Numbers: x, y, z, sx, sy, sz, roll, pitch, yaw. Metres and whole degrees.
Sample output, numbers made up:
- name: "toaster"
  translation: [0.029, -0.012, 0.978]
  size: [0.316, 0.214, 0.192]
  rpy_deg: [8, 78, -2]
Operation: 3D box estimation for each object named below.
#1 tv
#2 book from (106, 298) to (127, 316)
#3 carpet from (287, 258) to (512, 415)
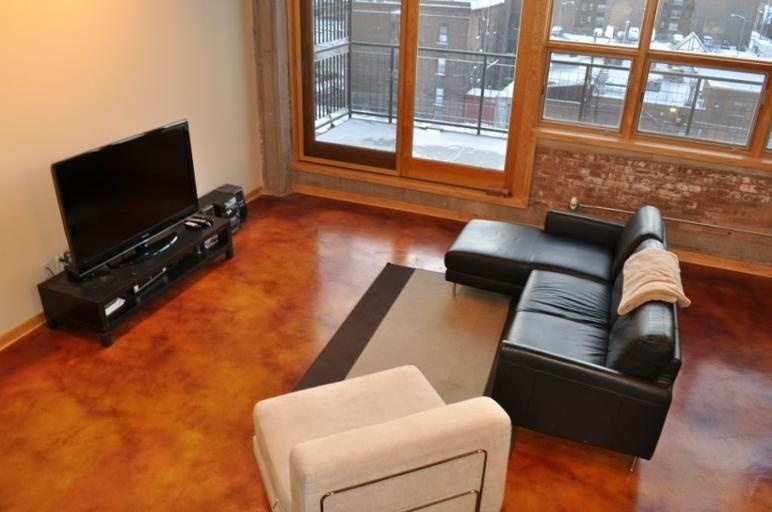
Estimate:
- name: "tv"
  translation: [-2.399, -0.520, 4.710]
  size: [0.196, 0.948, 1.377]
  rpy_deg: [21, 37, 18]
- name: "book"
  translation: [-2.356, 0.432, 4.573]
  size: [0.041, 0.100, 0.248]
  rpy_deg: [11, 30, 11]
- name: "carpet"
  translation: [0.303, 0.686, 4.676]
  size: [0.993, 0.008, 1.387]
  rpy_deg: [14, 37, 15]
